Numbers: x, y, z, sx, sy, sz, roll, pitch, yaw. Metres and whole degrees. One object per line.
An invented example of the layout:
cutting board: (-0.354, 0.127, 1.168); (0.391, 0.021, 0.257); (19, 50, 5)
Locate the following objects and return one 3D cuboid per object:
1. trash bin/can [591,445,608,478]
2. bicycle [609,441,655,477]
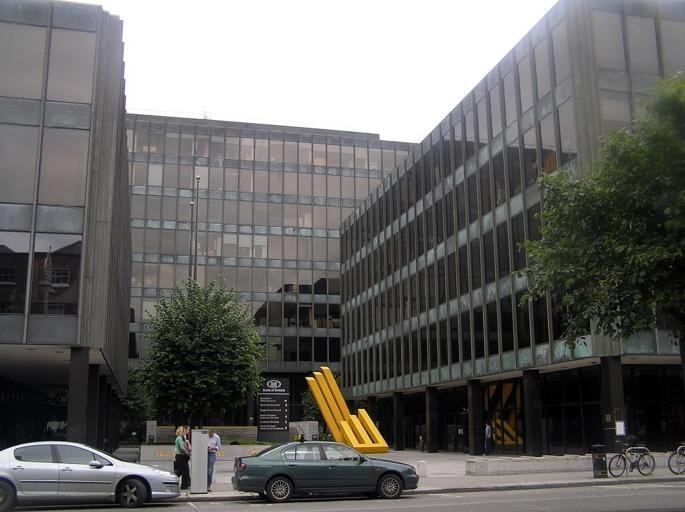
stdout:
trash bin/can: (9.560, 7.667, 25.450); (0.489, 1.186, 0.501); (-10, -20, 28)
bicycle: (11.086, 7.831, 26.265); (2.012, 1.197, 0.858); (2, -4, -12)
